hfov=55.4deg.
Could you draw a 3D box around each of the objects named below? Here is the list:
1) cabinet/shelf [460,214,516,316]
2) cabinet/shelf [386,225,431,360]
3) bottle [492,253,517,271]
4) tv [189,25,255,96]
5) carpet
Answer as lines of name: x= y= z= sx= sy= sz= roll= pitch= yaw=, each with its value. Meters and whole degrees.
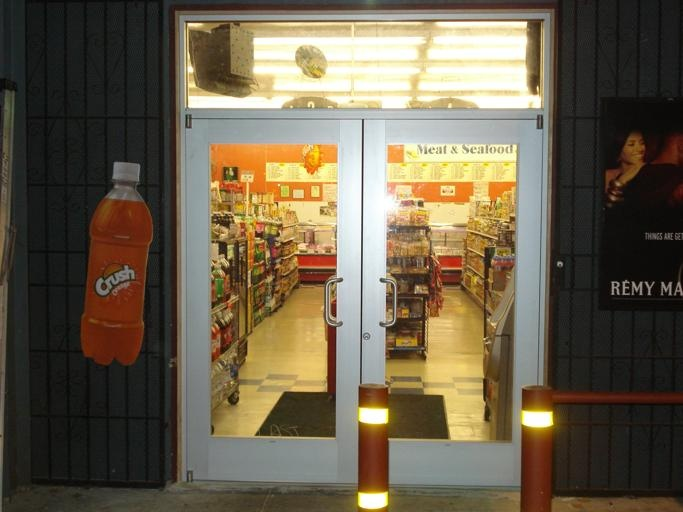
cabinet/shelf: x=1.999 y=0.271 z=8.874 sx=0.275 sy=0.795 sz=1.870 roll=-6 pitch=12 yaw=-3
cabinet/shelf: x=0.800 y=0.465 z=8.444 sx=0.756 sy=1.553 sz=0.516 roll=2 pitch=1 yaw=2
bottle: x=1.373 y=0.053 z=5.502 sx=0.145 sy=0.121 sz=0.249 roll=1 pitch=2 yaw=5
tv: x=-0.892 y=-1.451 z=4.779 sx=0.484 sy=0.495 sz=0.276 roll=-2 pitch=4 yaw=-26
carpet: x=0.144 y=1.445 z=5.959 sx=1.635 sy=0.116 sz=1.442 roll=1 pitch=2 yaw=6
